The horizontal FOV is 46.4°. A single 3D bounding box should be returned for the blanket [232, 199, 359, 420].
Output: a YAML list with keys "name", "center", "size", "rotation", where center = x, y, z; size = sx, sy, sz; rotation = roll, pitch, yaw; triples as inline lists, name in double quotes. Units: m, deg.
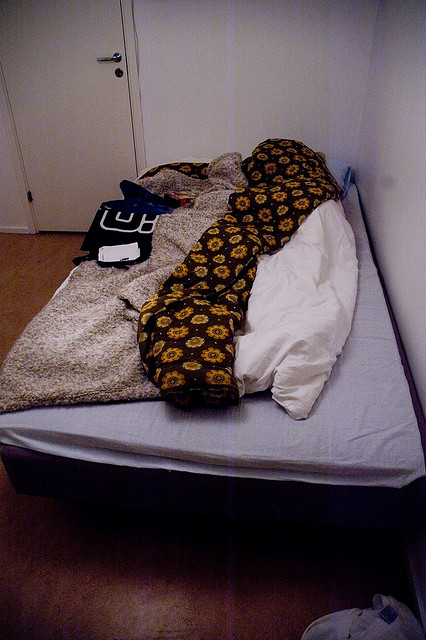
- name: "blanket"
  center: [0.241, -0.024, 1.455]
  size: [0.207, 0.099, 0.671]
  rotation: [-18, 25, 28]

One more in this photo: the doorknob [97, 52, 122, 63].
- name: "doorknob"
  center: [-0.578, -1.461, 2.777]
  size: [0.121, 0.040, 0.056]
  rotation: [-3, 63, 11]

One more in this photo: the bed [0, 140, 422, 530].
- name: "bed"
  center: [-0.012, -0.038, 1.576]
  size: [1.098, 0.303, 1.209]
  rotation: [2, 40, 8]
